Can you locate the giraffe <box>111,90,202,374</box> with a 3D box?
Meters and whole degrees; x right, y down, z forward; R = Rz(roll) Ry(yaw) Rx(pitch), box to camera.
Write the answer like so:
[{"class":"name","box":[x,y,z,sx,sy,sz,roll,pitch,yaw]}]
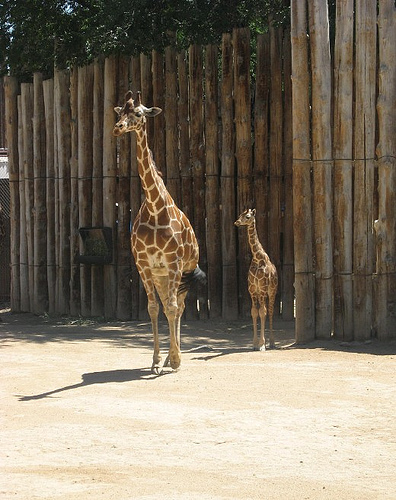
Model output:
[{"class":"giraffe","box":[-0.375,-0.190,13.402,0.742,2.565,2.691,-2,0,0]}]
